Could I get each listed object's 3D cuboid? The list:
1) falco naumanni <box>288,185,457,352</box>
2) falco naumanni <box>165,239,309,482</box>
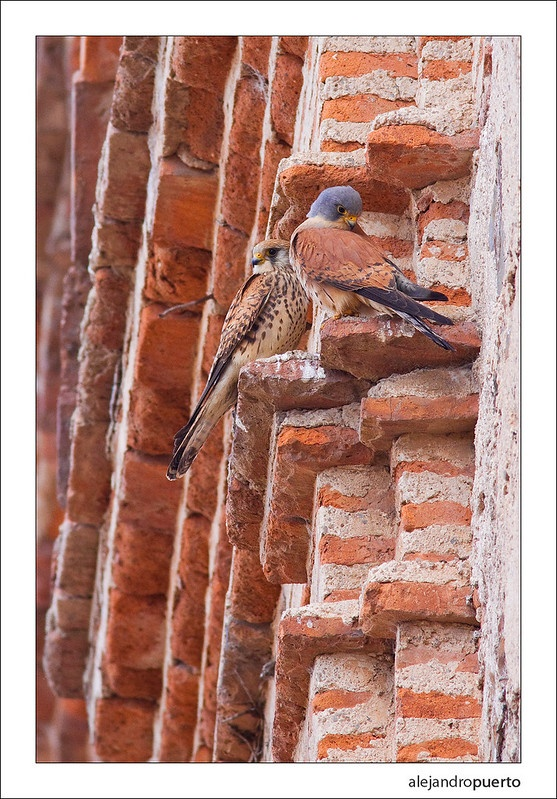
[{"bbox_3d":[0.288,-0.425,5.582,0.515,0.390,0.281,11,12,16],"label":"falco naumanni"},{"bbox_3d":[-0.112,-0.151,6.102,0.472,0.838,0.401,5,-6,-23],"label":"falco naumanni"}]
